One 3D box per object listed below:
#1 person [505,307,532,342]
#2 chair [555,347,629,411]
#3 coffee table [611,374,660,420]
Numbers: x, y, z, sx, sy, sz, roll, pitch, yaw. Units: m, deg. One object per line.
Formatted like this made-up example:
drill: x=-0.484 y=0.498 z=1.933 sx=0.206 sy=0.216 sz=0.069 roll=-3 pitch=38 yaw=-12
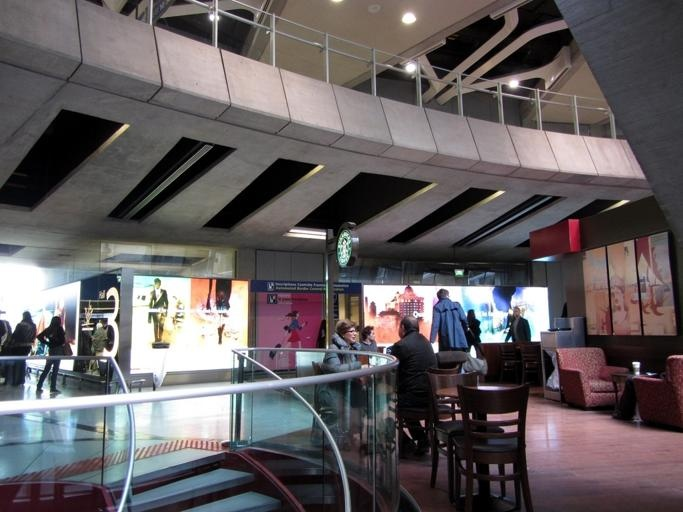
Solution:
person: x=5.042 y=1.952 z=13.782 sx=0.782 sy=0.983 sz=0.249 roll=2 pitch=-10 yaw=-13
chair: x=4.703 y=2.303 z=9.106 sx=1.043 sy=1.026 sz=1.034 roll=1 pitch=-8 yaw=-14
coffee table: x=4.666 y=2.334 z=7.903 sx=0.796 sy=0.756 sz=0.783 roll=1 pitch=-9 yaw=-5
